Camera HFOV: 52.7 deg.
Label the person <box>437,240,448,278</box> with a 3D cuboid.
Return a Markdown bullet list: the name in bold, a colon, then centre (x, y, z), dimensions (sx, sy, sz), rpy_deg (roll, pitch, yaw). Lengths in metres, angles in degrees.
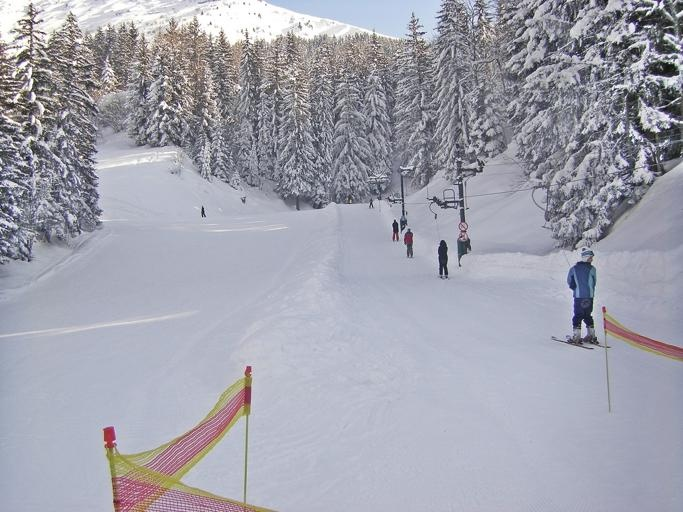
- **person**: centre (4.429, 0.085, 30.002), dimensions (0.361, 1.590, 0.900), rpy_deg (0, 14, 10)

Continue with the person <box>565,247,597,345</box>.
- **person**: centre (7.874, 1.321, 22.424), dimensions (0.921, 2.983, 1.160), rpy_deg (3, 14, 22)

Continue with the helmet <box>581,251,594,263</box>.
- **helmet**: centre (7.977, 0.026, 22.304), dimensions (0.351, 0.338, 0.356), rpy_deg (5, -10, -44)
